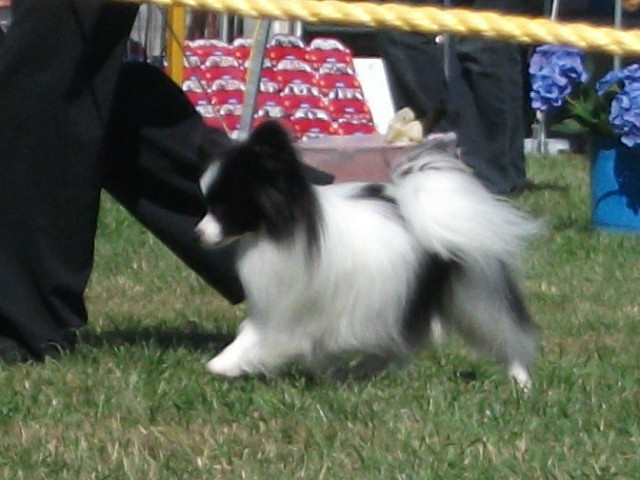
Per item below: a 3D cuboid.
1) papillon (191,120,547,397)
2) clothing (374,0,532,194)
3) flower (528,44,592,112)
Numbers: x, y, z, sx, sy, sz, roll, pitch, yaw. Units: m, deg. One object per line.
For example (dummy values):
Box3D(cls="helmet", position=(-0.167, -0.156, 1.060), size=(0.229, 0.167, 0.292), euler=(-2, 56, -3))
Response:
Box3D(cls="papillon", position=(0.215, 0.073, 4.650), size=(1.694, 1.217, 0.992), euler=(-1, 8, -23))
Box3D(cls="clothing", position=(1.455, -1.417, 9.619), size=(1.795, 1.870, 0.580), euler=(0, 4, 29))
Box3D(cls="flower", position=(1.990, -1.325, 7.984), size=(0.611, 0.605, 0.295), euler=(9, 5, 29))
